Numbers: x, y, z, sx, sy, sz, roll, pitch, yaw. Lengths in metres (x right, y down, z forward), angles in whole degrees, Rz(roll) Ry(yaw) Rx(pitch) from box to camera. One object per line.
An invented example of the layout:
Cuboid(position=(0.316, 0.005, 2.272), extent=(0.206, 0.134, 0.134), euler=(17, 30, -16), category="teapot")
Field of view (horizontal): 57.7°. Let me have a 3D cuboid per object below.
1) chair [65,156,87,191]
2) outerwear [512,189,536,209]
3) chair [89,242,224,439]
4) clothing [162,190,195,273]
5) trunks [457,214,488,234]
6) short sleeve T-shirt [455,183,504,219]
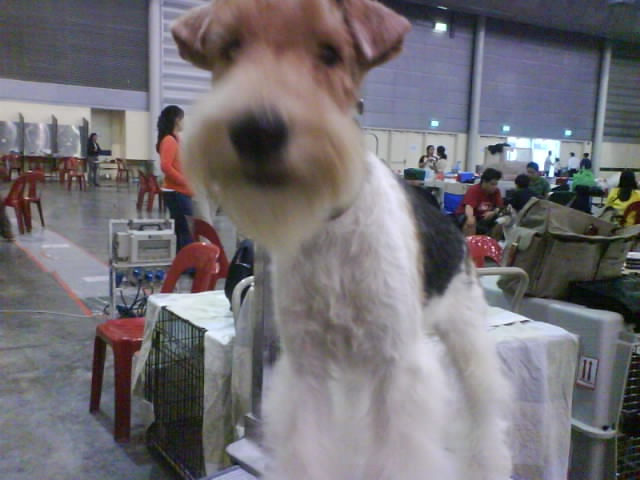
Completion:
Cuboid(position=(-7.639, -2.055, 18.319), extent=(0.613, 0.983, 0.572), euler=(7, 5, 37), category="chair")
Cuboid(position=(2.430, -0.467, 6.978), extent=(0.336, 0.246, 0.261), euler=(-7, 14, -39), category="outerwear")
Cuboid(position=(-1.099, 0.594, 3.818), extent=(0.649, 1.179, 0.580), euler=(3, 0, -36), category="chair")
Cuboid(position=(-1.389, -0.223, 5.988), extent=(0.294, 0.925, 0.273), euler=(16, 24, 16), category="clothing")
Cuboid(position=(1.776, -0.168, 6.650), extent=(0.334, 0.177, 0.477), euler=(8, 5, 3), category="trunks")
Cuboid(position=(1.891, -0.450, 6.901), extent=(0.441, 0.437, 0.280), euler=(8, 30, -25), category="short sleeve T-shirt")
